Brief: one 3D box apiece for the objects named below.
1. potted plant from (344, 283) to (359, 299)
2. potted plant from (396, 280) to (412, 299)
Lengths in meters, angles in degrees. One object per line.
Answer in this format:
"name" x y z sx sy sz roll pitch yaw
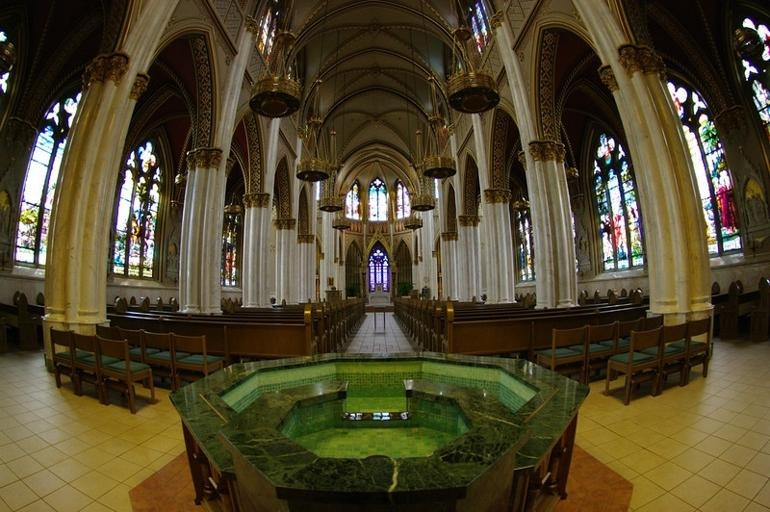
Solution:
"potted plant" -2.730 2.841 42.477 0.908 1.492 1.365 0 -7 15
"potted plant" 1.638 2.580 41.351 1.107 1.306 1.157 -6 -6 41
